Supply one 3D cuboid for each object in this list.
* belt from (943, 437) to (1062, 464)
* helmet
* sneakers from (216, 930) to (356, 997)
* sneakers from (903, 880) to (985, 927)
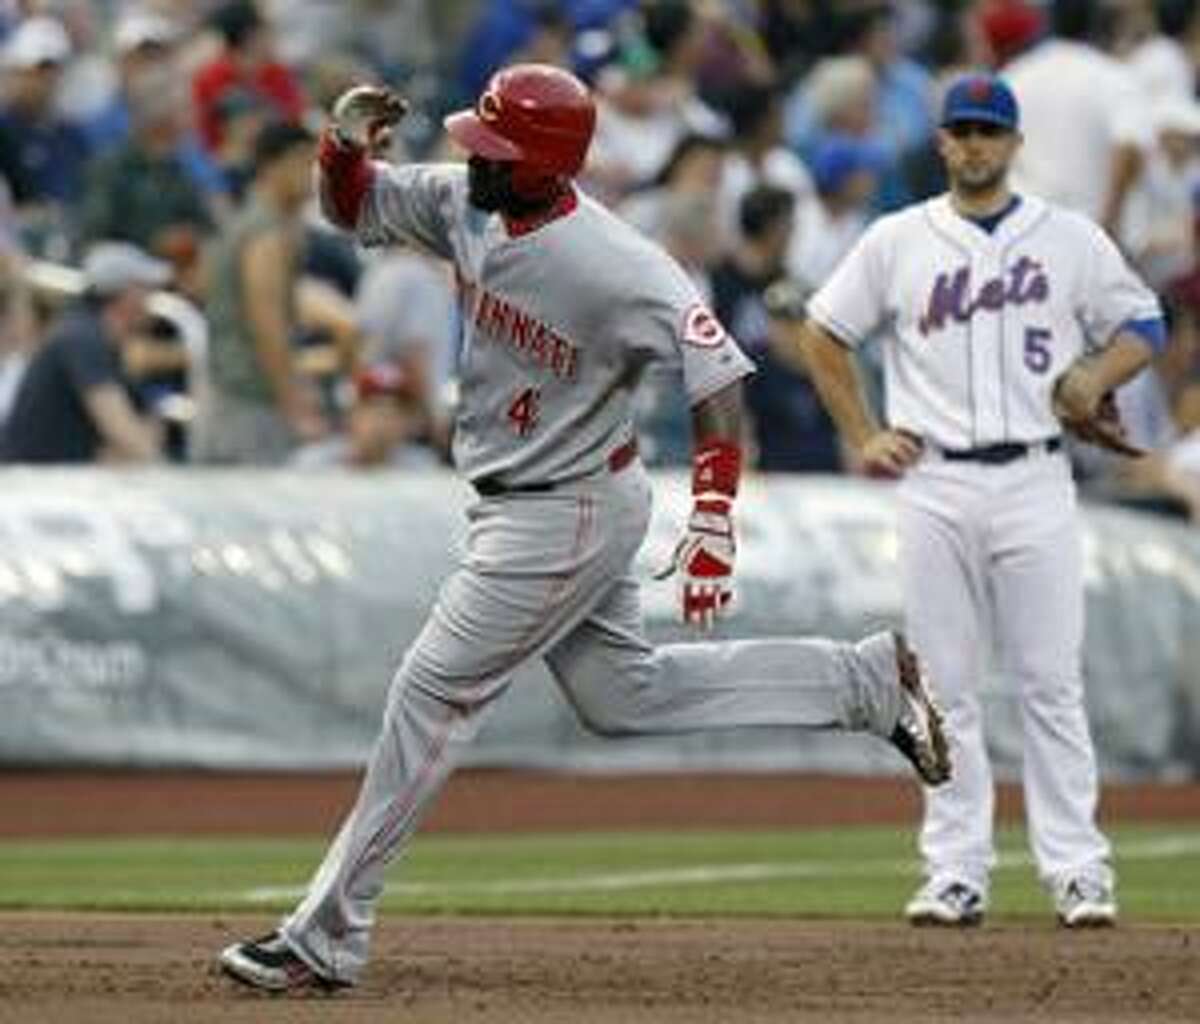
[{"bbox_3d":[1.309,-0.207,8.646,0.397,0.097,0.106,4,4,6],"label":"belt"},{"bbox_3d":[-0.213,-1.133,7.659,0.441,0.332,0.346,-17,42,-20],"label":"helmet"},{"bbox_3d":[-0.940,1.293,7.672,0.407,0.179,0.146,17,-9,-15],"label":"sneakers"},{"bbox_3d":[1.094,1.251,8.594,0.305,0.126,0.109,11,-12,-30],"label":"sneakers"}]
